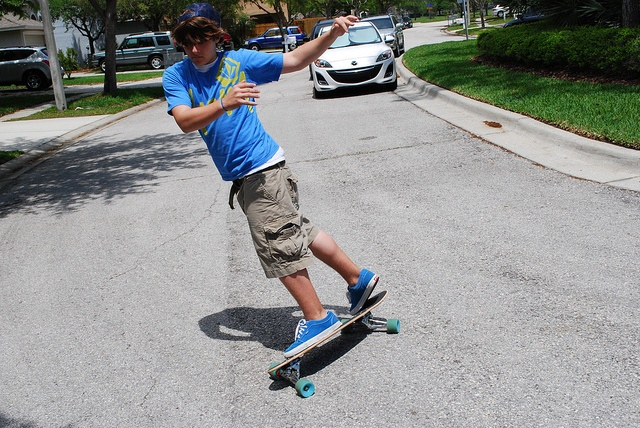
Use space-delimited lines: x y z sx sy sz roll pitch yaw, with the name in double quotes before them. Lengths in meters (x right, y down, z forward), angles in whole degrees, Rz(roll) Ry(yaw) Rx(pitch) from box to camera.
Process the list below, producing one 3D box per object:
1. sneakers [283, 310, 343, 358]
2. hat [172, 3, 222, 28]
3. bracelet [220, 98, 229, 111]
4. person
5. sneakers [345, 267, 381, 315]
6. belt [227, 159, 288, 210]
"sneakers" -0.054 0.855 3.427 0.534 0.203 0.175 -26 -9 -24
"hat" -0.825 -1.409 3.217 0.226 0.175 0.366 -2 24 14
"bracelet" -0.624 -0.720 2.968 0.030 0.078 0.064 -17 25 -18
"person" -0.350 -0.335 3.405 1.012 2.399 1.174 -27 30 -36
"sneakers" 0.324 0.591 3.572 0.192 0.450 0.154 21 44 -7
"belt" -0.530 -0.284 3.505 0.391 0.257 0.394 -35 -8 26
